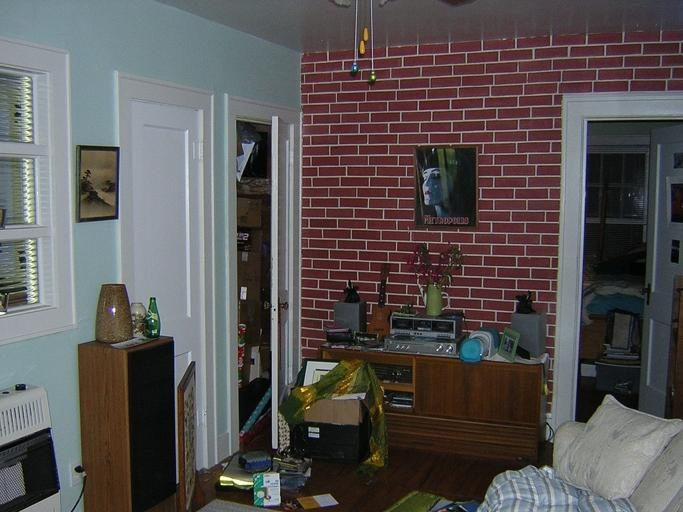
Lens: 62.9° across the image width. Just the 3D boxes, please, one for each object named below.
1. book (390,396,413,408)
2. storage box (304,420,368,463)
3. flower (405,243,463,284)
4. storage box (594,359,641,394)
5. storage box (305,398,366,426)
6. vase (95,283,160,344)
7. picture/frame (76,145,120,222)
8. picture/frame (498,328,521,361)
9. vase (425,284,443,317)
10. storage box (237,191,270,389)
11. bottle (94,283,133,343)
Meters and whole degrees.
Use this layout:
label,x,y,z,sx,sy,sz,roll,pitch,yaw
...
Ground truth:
label,x,y,z,sx,sy,sz,roll,pitch,yaw
book,0.538,1.322,5.035,0.128,0.070,0.098,2,2,17
storage box,-0.074,1.553,4.648,0.563,0.337,0.377,2,-5,10
flower,0.885,0.094,5.309,0.538,0.421,0.289,3,5,10
storage box,3.132,1.381,6.351,0.571,0.441,0.331,2,3,26
storage box,-0.054,1.290,4.597,0.329,0.177,0.240,1,1,17
vase,-1.354,0.381,3.660,0.217,0.395,0.370,-3,-7,35
picture/frame,-1.614,-0.477,3.638,0.038,0.568,0.464,5,6,23
picture/frame,1.470,0.779,4.865,0.023,0.323,0.239,6,0,-21
vase,0.863,0.399,5.227,0.160,0.286,0.263,3,5,8
storage box,-0.878,0.318,5.563,0.507,1.857,0.295,-2,6,-42
bottle,-1.514,0.372,3.666,0.233,0.370,0.185,1,5,-9
